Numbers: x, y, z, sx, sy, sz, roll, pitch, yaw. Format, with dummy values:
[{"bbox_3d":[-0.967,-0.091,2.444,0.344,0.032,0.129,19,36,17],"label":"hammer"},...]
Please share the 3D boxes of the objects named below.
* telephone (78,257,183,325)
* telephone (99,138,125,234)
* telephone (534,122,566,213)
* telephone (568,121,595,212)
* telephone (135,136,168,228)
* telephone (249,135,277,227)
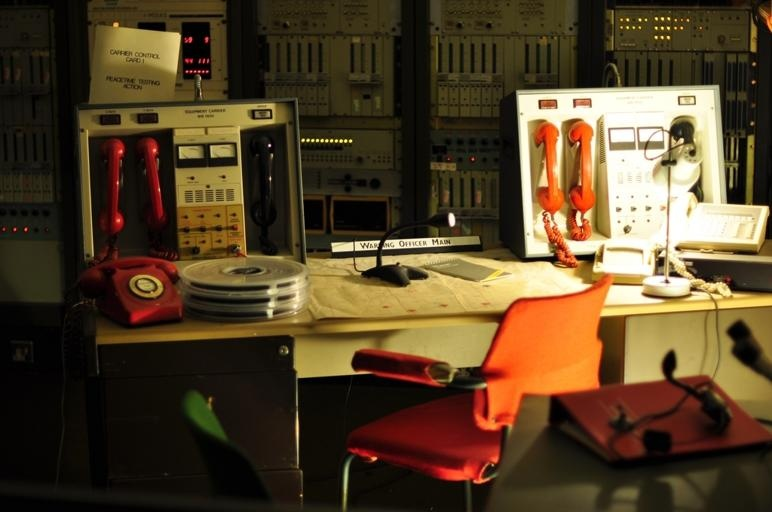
[{"bbox_3d":[-0.899,0.124,2.613,0.340,0.196,0.266,-6,11,-24],"label":"telephone"},{"bbox_3d":[-1.097,-0.270,2.973,0.117,0.392,0.154,-4,9,-20],"label":"telephone"},{"bbox_3d":[0.695,-0.376,3.189,0.120,0.400,0.128,1,8,9],"label":"telephone"},{"bbox_3d":[0.846,-0.387,3.236,0.107,0.394,0.123,1,9,12],"label":"telephone"},{"bbox_3d":[-0.951,-0.294,3.002,0.091,0.362,0.145,-5,10,-26],"label":"telephone"},{"bbox_3d":[-0.522,-0.306,3.109,0.097,0.385,0.092,-1,8,0],"label":"telephone"}]
